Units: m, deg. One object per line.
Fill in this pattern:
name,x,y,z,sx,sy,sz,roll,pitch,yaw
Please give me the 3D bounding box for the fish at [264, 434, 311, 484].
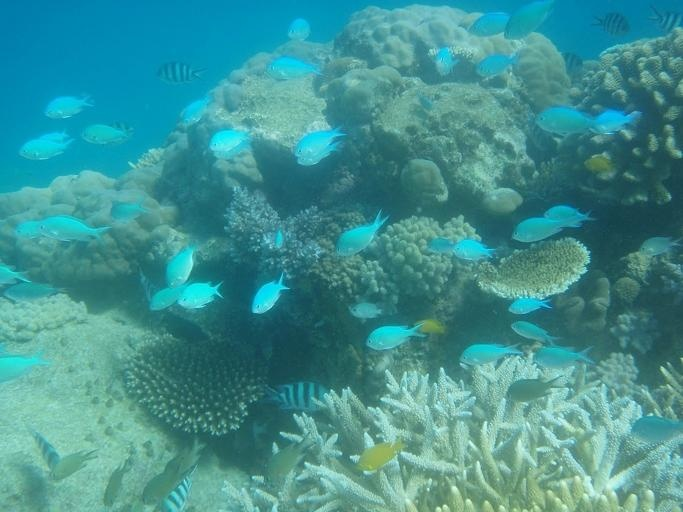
fish,-0.826,3.156,11.425,0.218,0.353,0.831,46,99,4
